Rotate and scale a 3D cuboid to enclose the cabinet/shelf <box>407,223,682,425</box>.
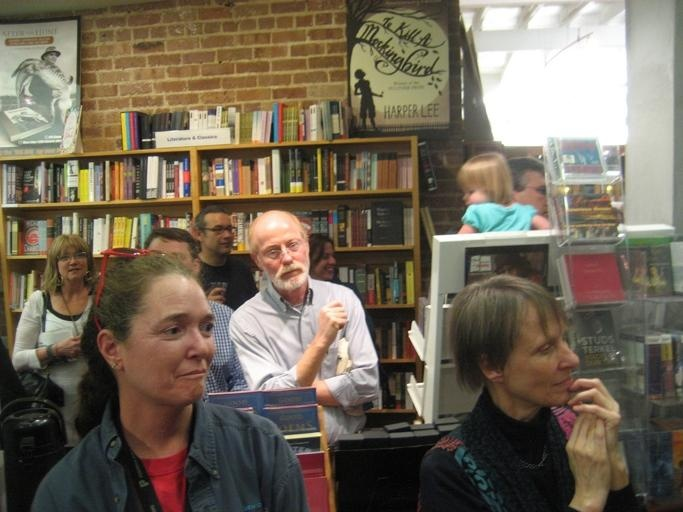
[{"bbox_3d":[0.857,0.173,3.524,1.340,1.153,0.927,-2,3,-1],"label":"cabinet/shelf"}]

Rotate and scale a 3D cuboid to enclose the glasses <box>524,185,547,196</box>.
[{"bbox_3d":[1.104,-0.367,3.911,0.101,0.028,0.098,0,-5,-6],"label":"glasses"}]

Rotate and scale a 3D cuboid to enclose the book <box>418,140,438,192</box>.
[{"bbox_3d":[0.709,-0.730,5.710,0.106,0.394,0.213,-4,-4,18],"label":"book"}]

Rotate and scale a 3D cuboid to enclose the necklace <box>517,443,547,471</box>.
[{"bbox_3d":[0.752,0.796,2.745,0.106,0.079,0.025,29,-12,-9],"label":"necklace"}]
